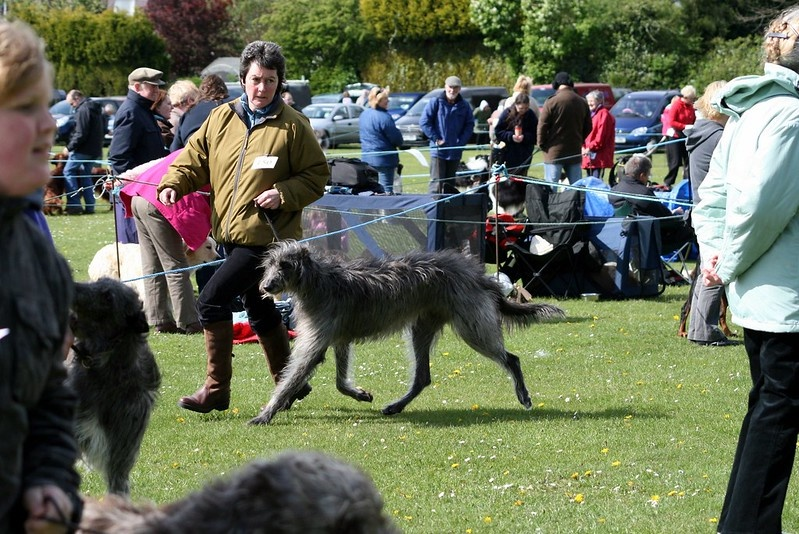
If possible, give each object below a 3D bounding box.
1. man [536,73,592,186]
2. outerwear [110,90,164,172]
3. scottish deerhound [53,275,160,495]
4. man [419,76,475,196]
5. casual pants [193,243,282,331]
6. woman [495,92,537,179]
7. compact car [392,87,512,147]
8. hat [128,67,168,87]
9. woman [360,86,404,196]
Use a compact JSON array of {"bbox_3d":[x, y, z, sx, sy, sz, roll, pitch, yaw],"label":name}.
[{"bbox_3d":[2.560,-2.230,24.681,0.694,1.733,1.032,7,11,30],"label":"man"},{"bbox_3d":[-3.376,-1.732,19.962,0.517,0.992,1.066,-1,10,15],"label":"outerwear"},{"bbox_3d":[-2.834,1.098,15.162,0.672,2.277,1.162,1,17,-2],"label":"scottish deerhound"},{"bbox_3d":[0.769,-2.221,25.652,0.859,1.898,1.664,2,9,2],"label":"man"},{"bbox_3d":[-1.844,0.239,17.115,0.857,1.425,0.871,3,5,8],"label":"casual pants"},{"bbox_3d":[1.866,-2.160,25.083,0.679,1.329,0.566,2,9,4],"label":"woman"},{"bbox_3d":[1.649,-4.208,41.487,1.845,1.657,3.474,1,1,43],"label":"compact car"},{"bbox_3d":[-3.291,-2.470,19.983,0.370,0.164,0.279,-3,3,-10],"label":"hat"},{"bbox_3d":[-0.317,-2.042,24.739,0.676,1.614,1.081,1,9,-2],"label":"woman"}]
